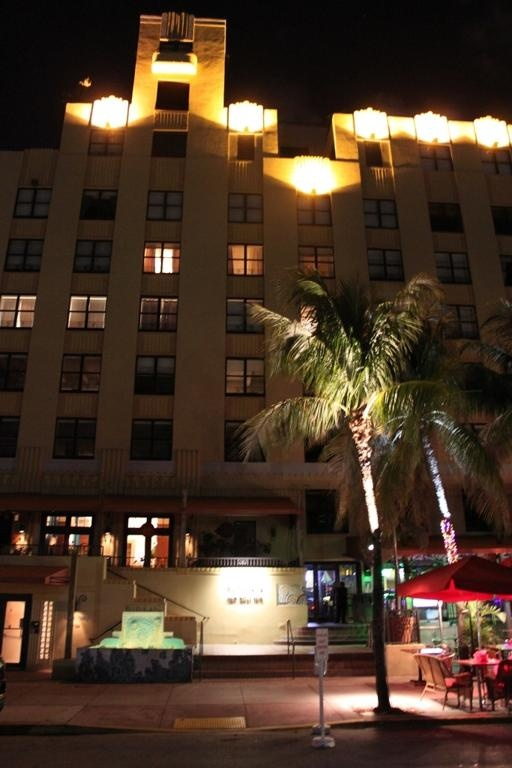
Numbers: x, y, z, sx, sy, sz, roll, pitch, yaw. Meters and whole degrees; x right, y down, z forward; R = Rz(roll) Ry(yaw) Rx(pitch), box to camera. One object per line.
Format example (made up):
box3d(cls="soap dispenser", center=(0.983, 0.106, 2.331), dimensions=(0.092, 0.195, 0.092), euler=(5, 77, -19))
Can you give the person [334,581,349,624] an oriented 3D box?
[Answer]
box3d(cls="person", center=(3.558, 9.157, 23.218), dimensions=(0.488, 1.525, 1.136), euler=(-5, -21, 6))
